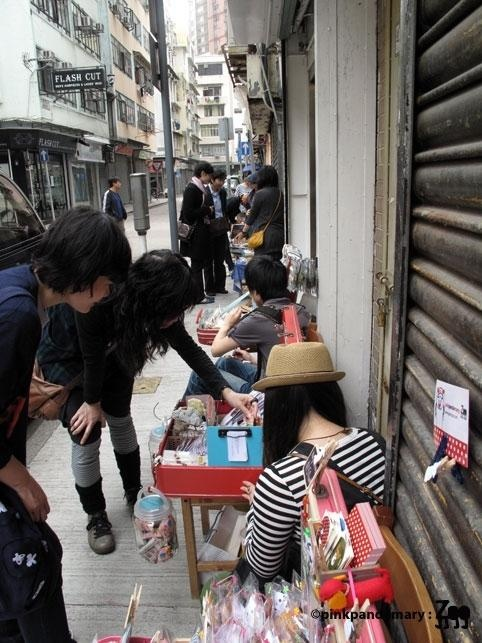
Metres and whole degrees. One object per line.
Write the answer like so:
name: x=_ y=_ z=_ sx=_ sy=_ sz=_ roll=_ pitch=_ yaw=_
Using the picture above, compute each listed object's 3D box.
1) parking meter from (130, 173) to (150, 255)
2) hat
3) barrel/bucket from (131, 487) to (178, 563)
parking meter: x=-2.035 y=-2.126 z=8.347 sx=0.246 sy=1.783 sz=0.386 roll=2 pitch=19 yaw=6
hat: x=0.198 y=0.171 z=1.470 sx=0.289 sy=0.170 sz=0.206 roll=-3 pitch=11 yaw=-19
barrel/bucket: x=-0.496 y=1.214 z=2.392 sx=0.216 sy=0.382 sz=0.156 roll=0 pitch=10 yaw=0
